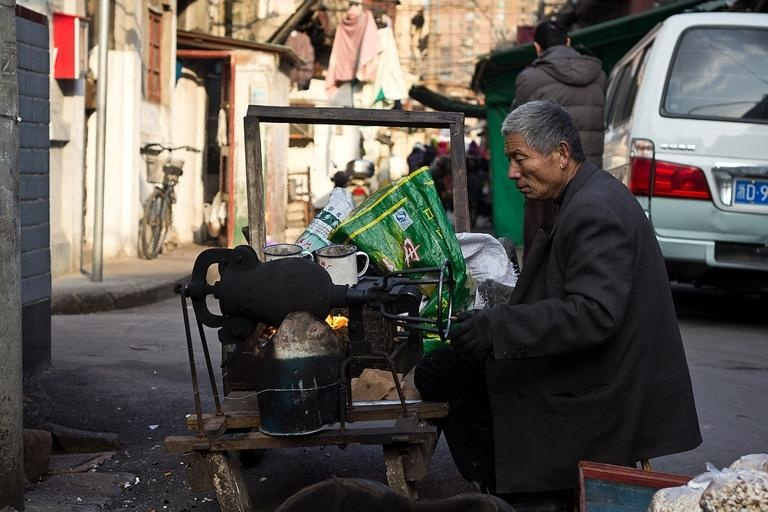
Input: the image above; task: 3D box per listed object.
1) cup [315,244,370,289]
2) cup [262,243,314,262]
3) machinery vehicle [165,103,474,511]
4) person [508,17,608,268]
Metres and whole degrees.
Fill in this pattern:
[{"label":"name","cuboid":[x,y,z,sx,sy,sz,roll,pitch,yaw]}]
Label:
[{"label":"cup","cuboid":[-0.235,0.050,5.863,0.430,0.242,0.258,-3,7,-38]},{"label":"cup","cuboid":[-0.632,-0.027,5.818,0.233,0.183,0.156,0,1,-12]},{"label":"machinery vehicle","cuboid":[-0.420,0.043,6.316,1.731,2.798,2.620,-2,-3,-1]},{"label":"person","cuboid":[1.619,-1.028,8.700,0.788,2.697,0.793,-5,35,-4]}]
